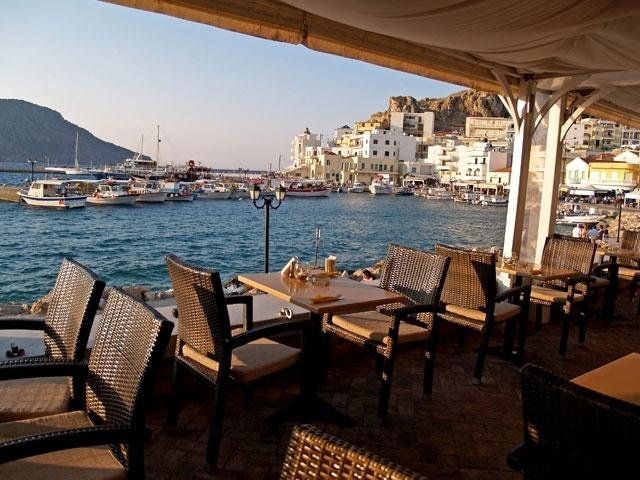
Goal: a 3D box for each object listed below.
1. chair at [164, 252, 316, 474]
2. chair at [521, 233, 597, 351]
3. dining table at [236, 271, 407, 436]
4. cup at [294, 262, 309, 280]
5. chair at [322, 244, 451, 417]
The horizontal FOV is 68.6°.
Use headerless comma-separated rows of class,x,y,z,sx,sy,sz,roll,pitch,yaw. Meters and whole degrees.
chair,-0.572,0.697,3.026,0.651,1.200,0.664,19,19,41
chair,2.726,0.603,5.549,0.869,1.074,0.920,12,-22,-24
dining table,-0.098,0.883,3.382,1.282,1.051,1.427,-3,-4,9
cup,-0.143,0.249,3.644,0.139,0.110,0.120,0,0,-3
chair,0.560,0.654,3.789,0.981,0.909,0.851,-9,13,-20
